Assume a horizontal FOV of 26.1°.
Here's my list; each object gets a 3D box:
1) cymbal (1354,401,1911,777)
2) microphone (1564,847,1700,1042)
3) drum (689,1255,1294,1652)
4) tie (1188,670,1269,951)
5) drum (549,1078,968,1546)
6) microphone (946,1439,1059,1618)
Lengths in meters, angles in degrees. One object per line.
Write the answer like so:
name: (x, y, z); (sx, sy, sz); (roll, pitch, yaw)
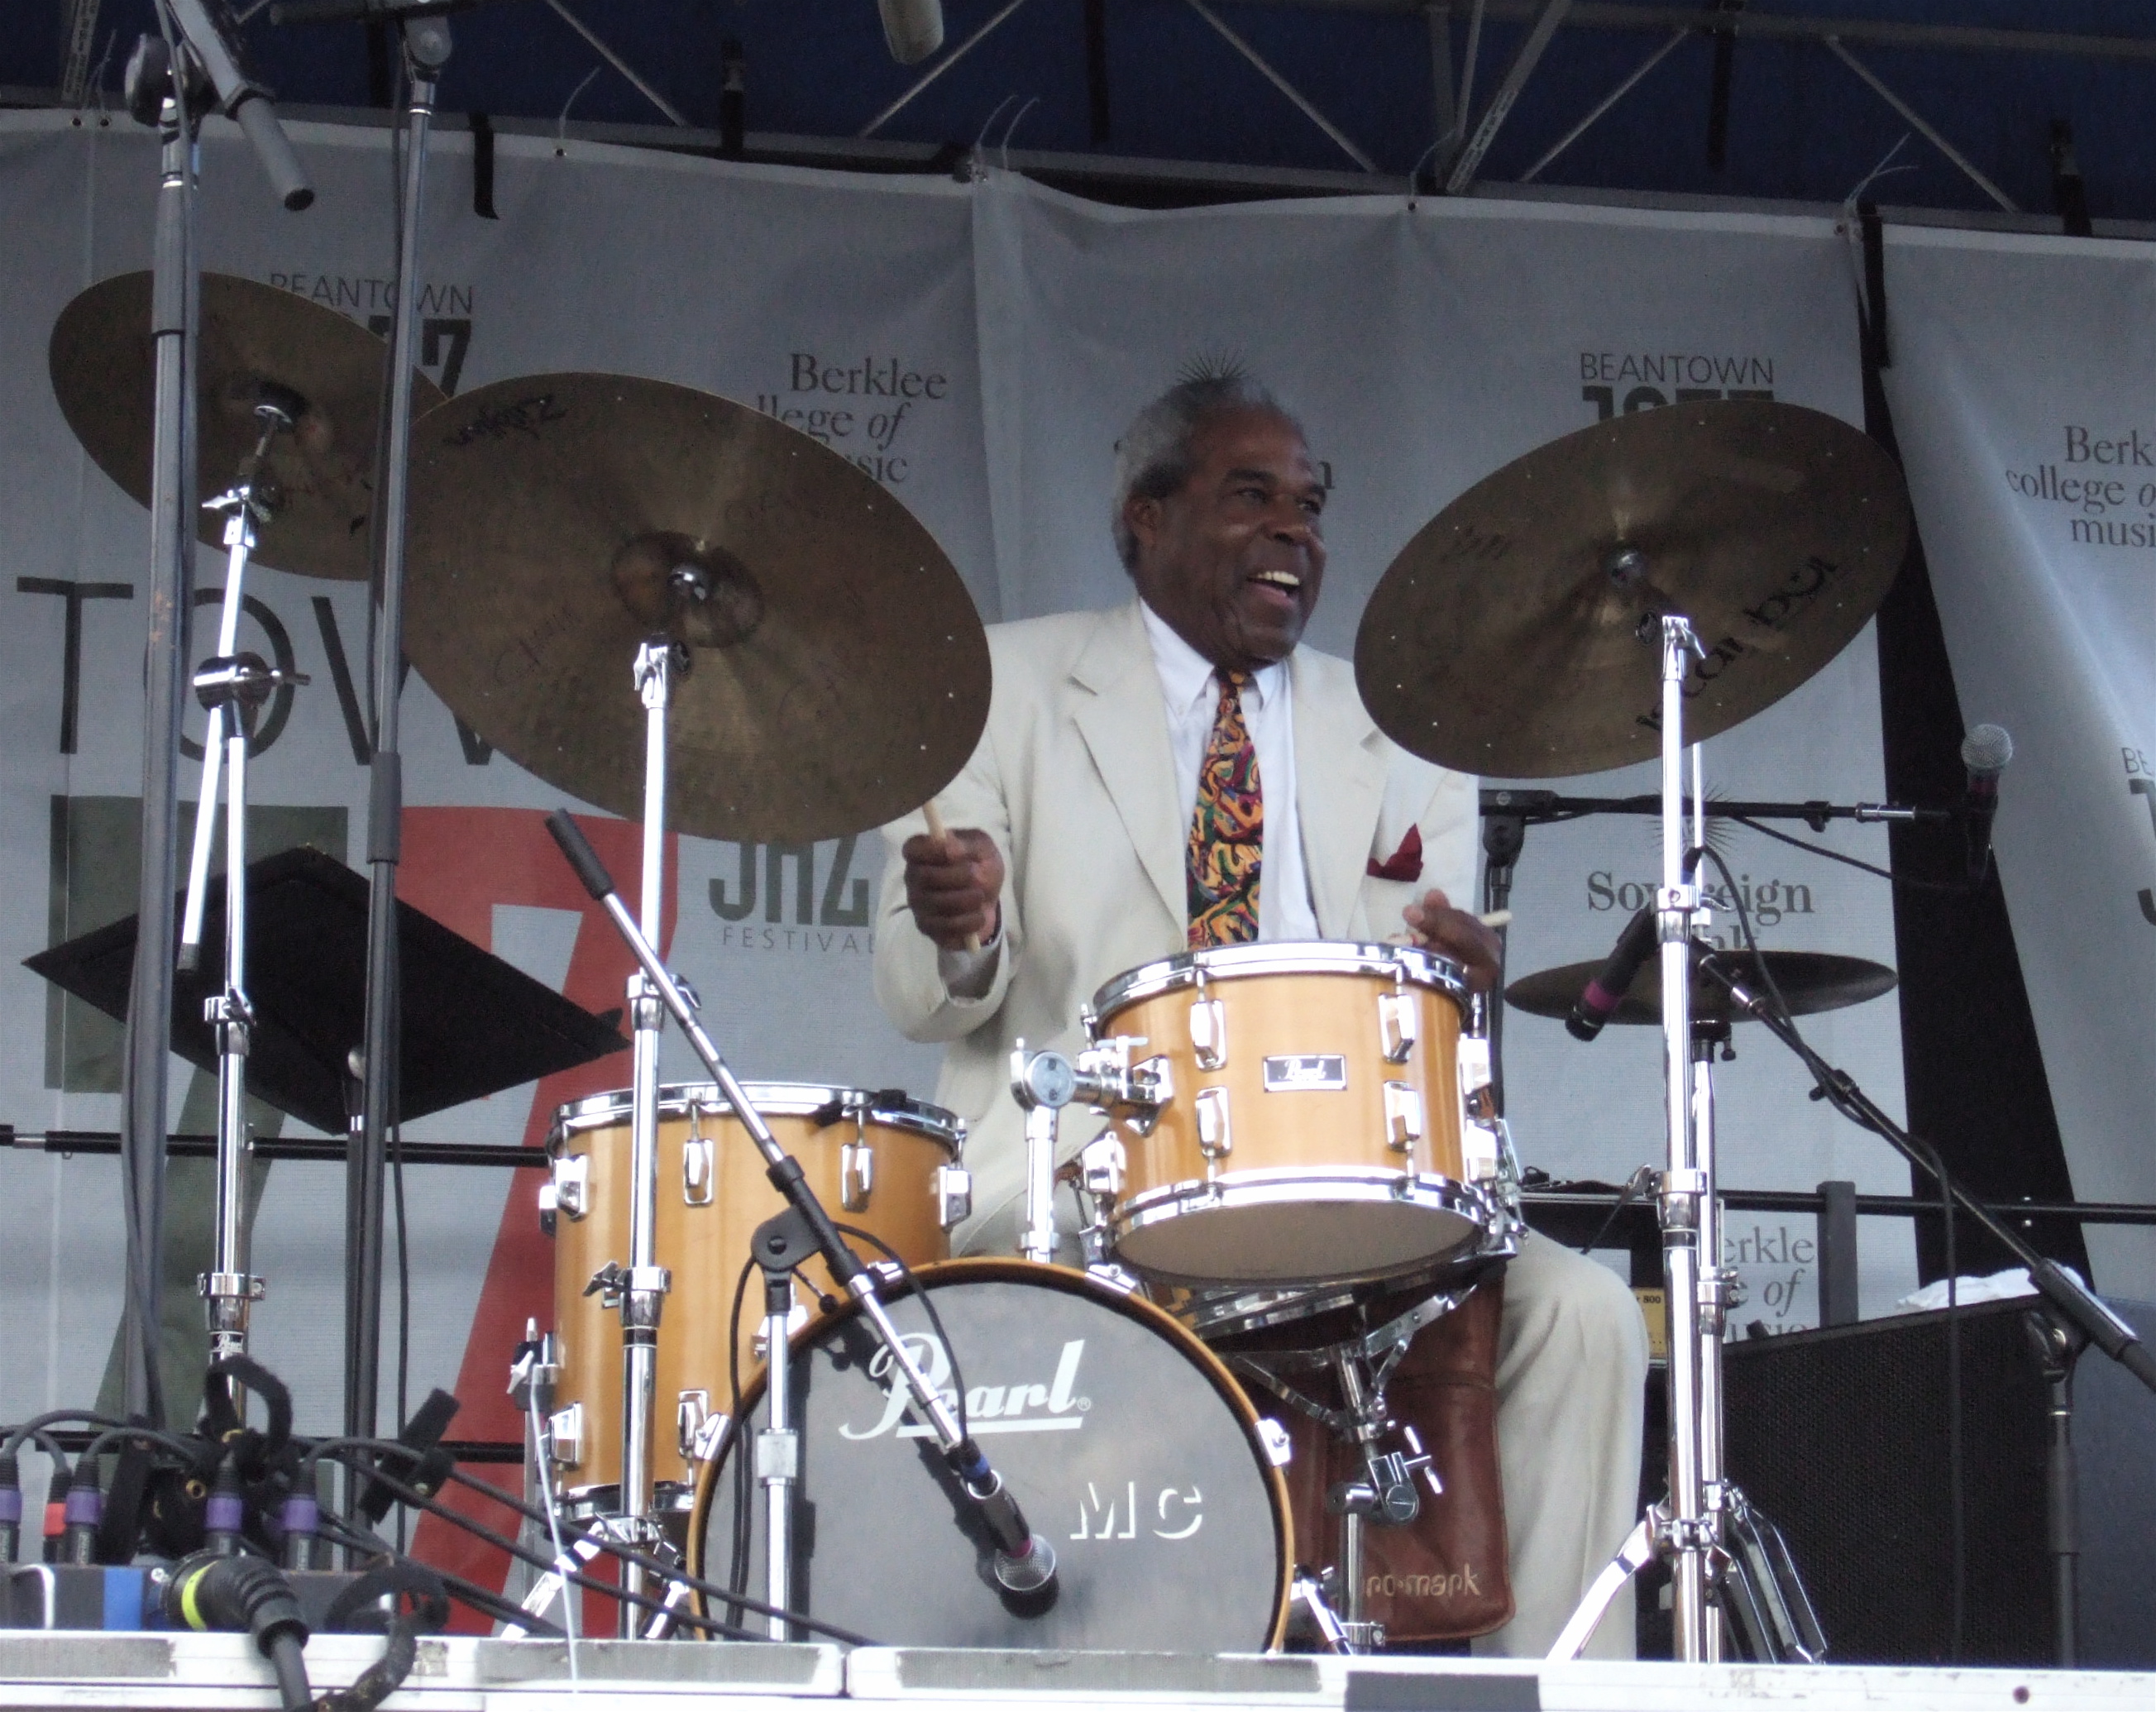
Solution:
cymbal: (0.939, -0.445, 7.875); (0.705, 0.169, 0.719); (10, -52, -30)
microphone: (0.948, 0.143, 7.764); (0.121, 0.111, 0.467); (41, -28, 10)
drum: (-0.069, 0.919, 6.933); (0.731, 0.627, 0.671); (3, -1, -11)
tie: (0.275, -0.053, 8.432); (0.117, 0.410, 0.123); (7, 6, -22)
drum: (-0.499, 0.759, 7.618); (0.638, 0.666, 0.653); (-12, -21, 34)
microphone: (-0.107, 0.996, 6.869); (0.114, 0.285, 0.117); (-35, 6, -4)
